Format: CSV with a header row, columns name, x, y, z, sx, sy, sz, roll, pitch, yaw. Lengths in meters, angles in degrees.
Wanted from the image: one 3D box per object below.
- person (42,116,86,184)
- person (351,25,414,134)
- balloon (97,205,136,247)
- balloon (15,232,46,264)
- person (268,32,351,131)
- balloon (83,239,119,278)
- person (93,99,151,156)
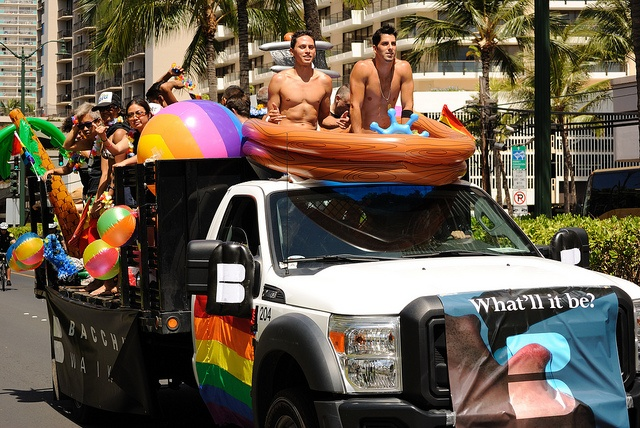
name,x,y,z,sx,sy,sz,roll,pitch,yaw
person,-3.850,-0.968,12.818,0.613,0.468,0.880,-6,36,-15
person,0.838,-1.759,11.123,0.789,1.553,0.803,4,26,2
balloon,-2.392,0.197,9.754,0.343,0.405,0.443,11,-31,-40
balloon,-4.048,0.454,11.780,0.348,0.515,0.404,4,5,18
person,-0.215,-1.690,10.814,0.936,1.439,0.693,1,-1,-16
balloon,-2.669,0.577,10.165,0.393,0.456,0.500,2,-34,-22
person,-2.585,-1.200,11.335,0.575,0.930,0.349,16,7,-18
